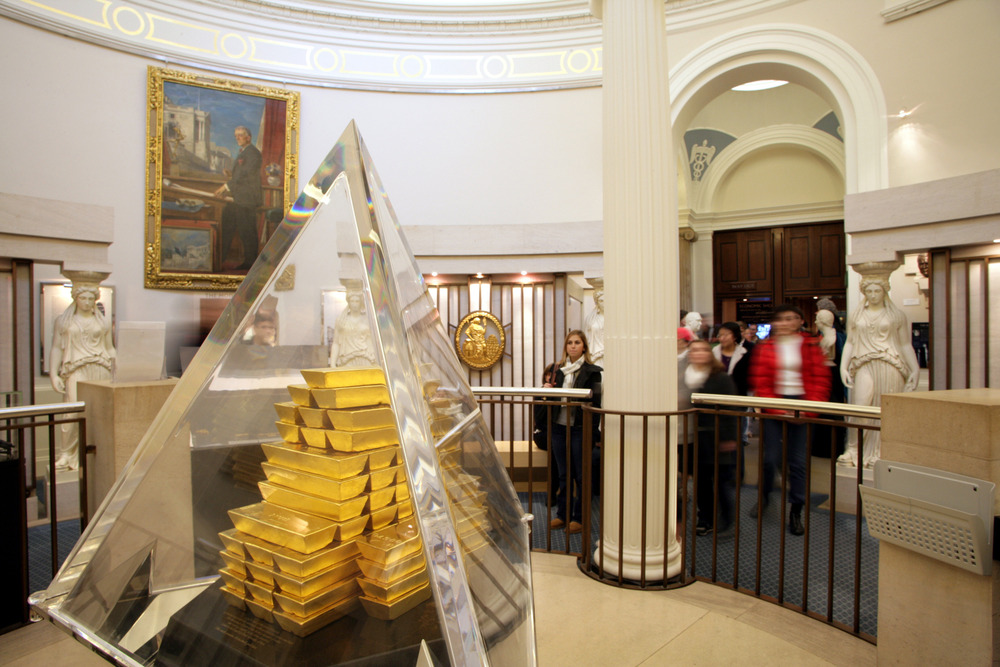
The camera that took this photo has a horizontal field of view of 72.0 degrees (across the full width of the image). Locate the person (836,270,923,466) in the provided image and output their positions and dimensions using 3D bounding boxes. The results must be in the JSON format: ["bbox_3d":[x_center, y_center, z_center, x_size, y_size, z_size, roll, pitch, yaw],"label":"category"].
[{"bbox_3d":[3.866,0.011,7.049,0.669,1.439,0.400,1,4,28],"label":"person"}]

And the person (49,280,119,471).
[{"bbox_3d":[-4.530,0.363,7.518,0.609,2.036,0.767,-3,4,-34],"label":"person"}]
